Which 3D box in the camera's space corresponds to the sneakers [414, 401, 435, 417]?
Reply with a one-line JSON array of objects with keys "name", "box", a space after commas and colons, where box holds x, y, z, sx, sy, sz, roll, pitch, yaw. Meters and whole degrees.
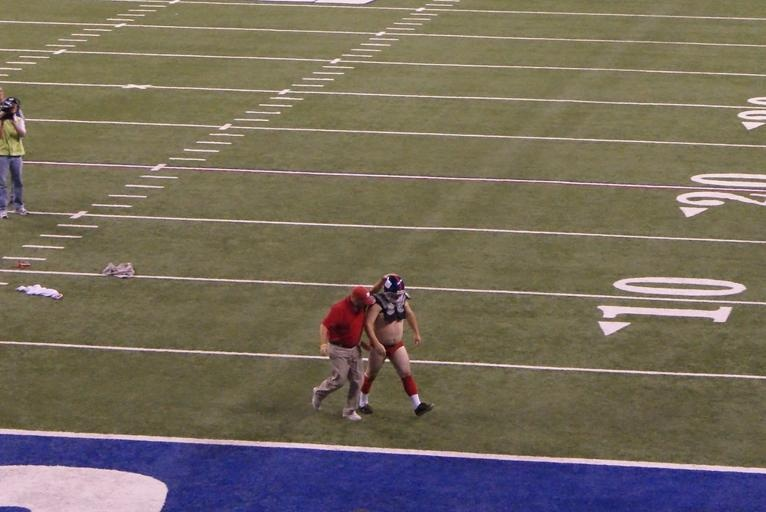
[{"name": "sneakers", "box": [0.749, 2.819, 40.976, 0.492, 0.205, 0.151, -21, 34, 23]}]

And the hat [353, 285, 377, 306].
[{"name": "hat", "box": [-0.365, 0.687, 40.665, 0.410, 0.371, 0.493, -1, 20, -1]}]

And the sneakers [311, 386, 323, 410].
[{"name": "sneakers", "box": [-1.236, 2.639, 41.192, 0.241, 0.403, 0.175, 6, 17, 13]}]

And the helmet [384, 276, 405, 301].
[{"name": "helmet", "box": [0.189, 0.570, 40.745, 0.402, 0.440, 0.328, 2, 22, 7]}]

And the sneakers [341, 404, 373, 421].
[{"name": "sneakers", "box": [-0.479, 2.922, 41.042, 0.703, 0.234, 0.206, -10, 36, -11]}]

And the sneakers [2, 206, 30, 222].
[{"name": "sneakers", "box": [-7.775, -0.936, 46.556, 0.697, 0.224, 0.191, -4, 14, 0]}]

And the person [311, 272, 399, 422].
[{"name": "person", "box": [-0.745, 1.787, 40.769, 1.160, 2.545, 0.650, -1, 24, 0]}]
